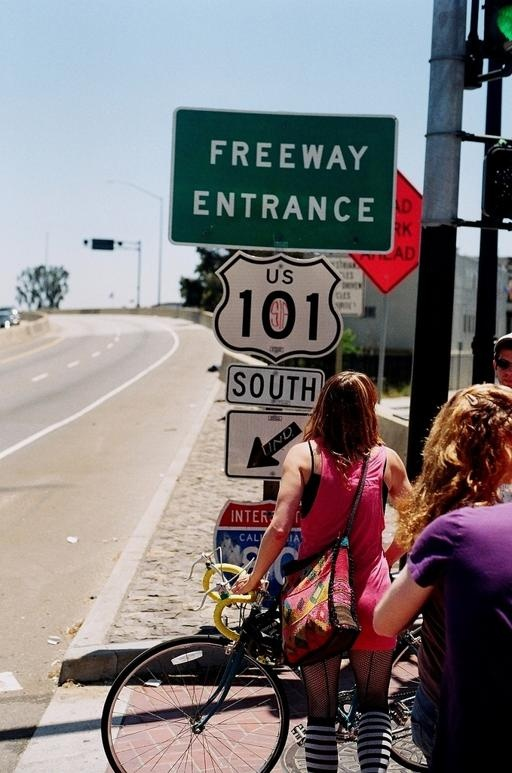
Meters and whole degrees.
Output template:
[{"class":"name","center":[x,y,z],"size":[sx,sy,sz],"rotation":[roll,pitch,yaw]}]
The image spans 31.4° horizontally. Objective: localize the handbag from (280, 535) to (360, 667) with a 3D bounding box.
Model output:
[{"class":"handbag","center":[0.220,0.715,3.021],"size":[0.126,0.294,0.342],"rotation":[31,31,-24]}]
